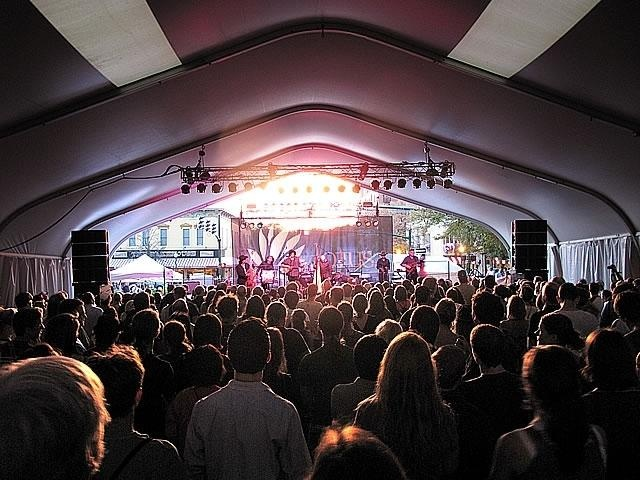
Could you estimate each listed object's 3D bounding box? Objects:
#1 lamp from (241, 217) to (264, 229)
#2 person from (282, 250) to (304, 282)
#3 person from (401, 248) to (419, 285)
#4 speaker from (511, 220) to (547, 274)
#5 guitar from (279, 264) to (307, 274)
[{"bbox_3d":[-3.506,-0.826,28.076,1.171,0.569,2.419,3,-4,-5],"label":"lamp"},{"bbox_3d":[-1.210,1.247,23.455,0.823,1.630,0.610,-8,27,-10],"label":"person"},{"bbox_3d":[3.488,1.030,20.642,0.751,1.587,0.224,-10,15,-26],"label":"person"},{"bbox_3d":[6.713,0.277,17.246,1.309,1.806,1.304,-1,0,-19],"label":"speaker"},{"bbox_3d":[-1.232,1.201,24.689,1.196,0.323,0.624,-1,-6,-1],"label":"guitar"}]
